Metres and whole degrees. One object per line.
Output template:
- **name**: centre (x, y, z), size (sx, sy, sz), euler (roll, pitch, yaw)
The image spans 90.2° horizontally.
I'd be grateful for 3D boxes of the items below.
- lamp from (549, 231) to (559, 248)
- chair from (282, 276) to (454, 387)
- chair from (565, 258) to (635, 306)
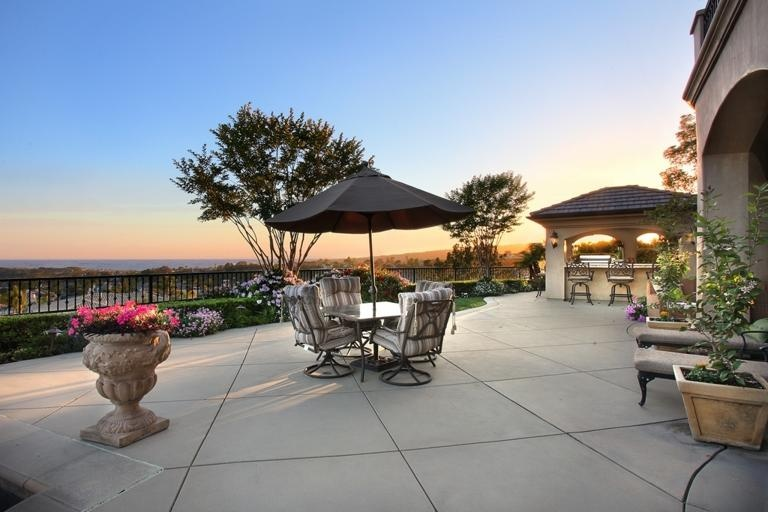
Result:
- **lamp**: centre (6.973, -0.653, 15.536), size (0.385, 0.726, 0.155), euler (-4, -1, -14)
- **chair**: centre (-0.426, 1.370, 6.861), size (3.004, 1.583, 1.566), euler (-2, -2, 34)
- **chair**: centre (8.430, 0.996, 14.822), size (1.875, 1.351, 0.722), euler (-1, 3, 20)
